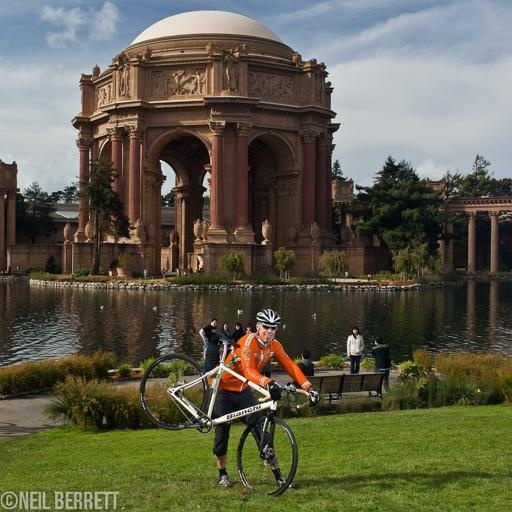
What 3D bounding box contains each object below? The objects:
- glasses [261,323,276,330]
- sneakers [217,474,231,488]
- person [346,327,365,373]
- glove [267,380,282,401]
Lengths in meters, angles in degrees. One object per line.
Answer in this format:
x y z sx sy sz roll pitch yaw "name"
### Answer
0.201 0.964 13.488 0.210 0.075 0.129 1 -5 -19 "glasses"
-0.427 3.107 13.708 0.188 0.158 0.255 0 -4 -2 "sneakers"
2.250 2.119 22.317 0.354 1.036 1.181 -1 -4 6 "person"
0.249 1.788 13.081 0.082 0.239 0.169 -35 -10 -16 "glove"
